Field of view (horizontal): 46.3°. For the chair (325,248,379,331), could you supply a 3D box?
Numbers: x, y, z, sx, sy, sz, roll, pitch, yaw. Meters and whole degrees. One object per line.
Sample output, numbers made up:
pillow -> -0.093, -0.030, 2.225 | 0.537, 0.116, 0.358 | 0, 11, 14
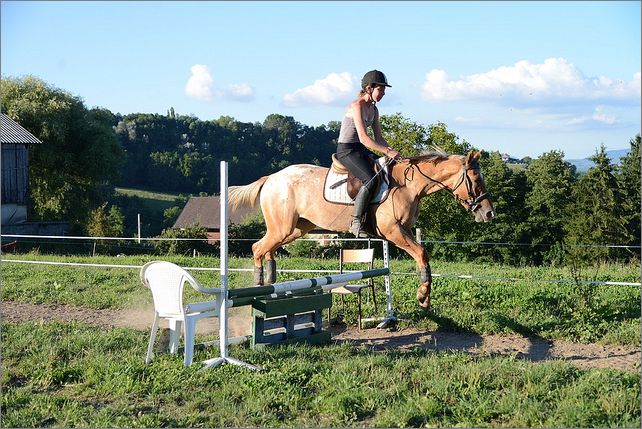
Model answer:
chair -> 0.721, 1.833, 18.657 | 1.051, 1.930, 1.172 | -2, -4, 28

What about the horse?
horse -> 0.677, 0.364, 18.306 | 6.490, 4.045, 1.587 | 3, 7, 15
